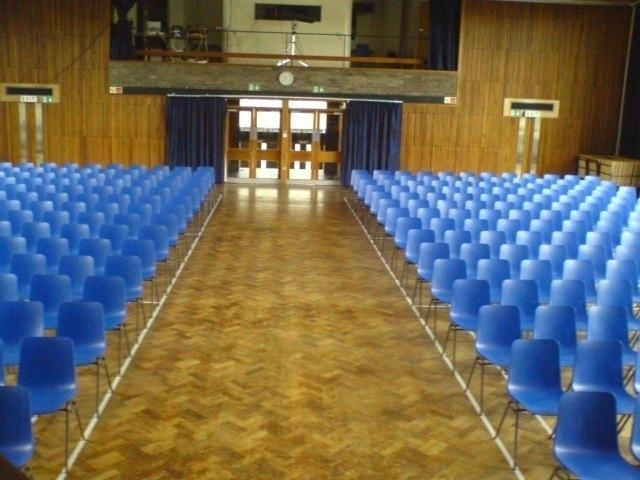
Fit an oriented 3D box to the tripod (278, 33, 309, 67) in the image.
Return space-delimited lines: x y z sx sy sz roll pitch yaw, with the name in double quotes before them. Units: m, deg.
"tripod" -0.840 -5.860 16.813 1.093 1.276 1.138 0 3 -3
